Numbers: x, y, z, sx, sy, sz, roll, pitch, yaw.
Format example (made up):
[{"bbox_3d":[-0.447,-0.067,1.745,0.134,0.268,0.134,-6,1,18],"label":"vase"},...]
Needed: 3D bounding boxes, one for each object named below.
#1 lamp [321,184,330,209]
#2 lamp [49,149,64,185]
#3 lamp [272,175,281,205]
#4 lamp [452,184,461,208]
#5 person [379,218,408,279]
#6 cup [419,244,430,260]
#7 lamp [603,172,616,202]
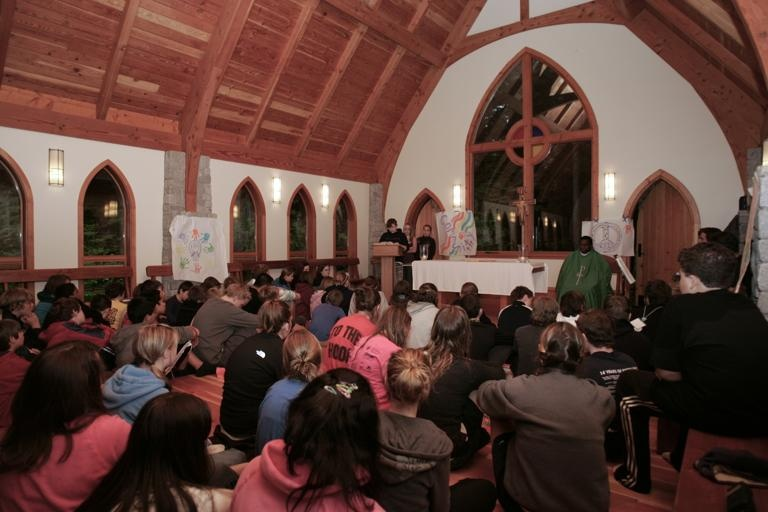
[{"bbox_3d":[-1.272,-1.298,11.166,0.085,0.390,0.222,0,0,35],"label":"lamp"},{"bbox_3d":[-4.775,-1.291,7.445,0.077,0.533,0.185,0,0,37],"label":"lamp"},{"bbox_3d":[-2.135,-1.328,10.276,0.105,0.381,0.217,0,0,39],"label":"lamp"},{"bbox_3d":[1.601,-1.292,11.121,0.162,0.457,0.107,0,0,3],"label":"lamp"},{"bbox_3d":[0.198,-0.035,10.723,0.595,1.522,0.594,-5,-10,12],"label":"person"},{"bbox_3d":[0.713,-0.064,9.111,0.108,0.229,0.207,0,0,-5],"label":"cup"},{"bbox_3d":[4.260,-1.302,9.638,0.195,0.531,0.065,0,0,24],"label":"lamp"}]
